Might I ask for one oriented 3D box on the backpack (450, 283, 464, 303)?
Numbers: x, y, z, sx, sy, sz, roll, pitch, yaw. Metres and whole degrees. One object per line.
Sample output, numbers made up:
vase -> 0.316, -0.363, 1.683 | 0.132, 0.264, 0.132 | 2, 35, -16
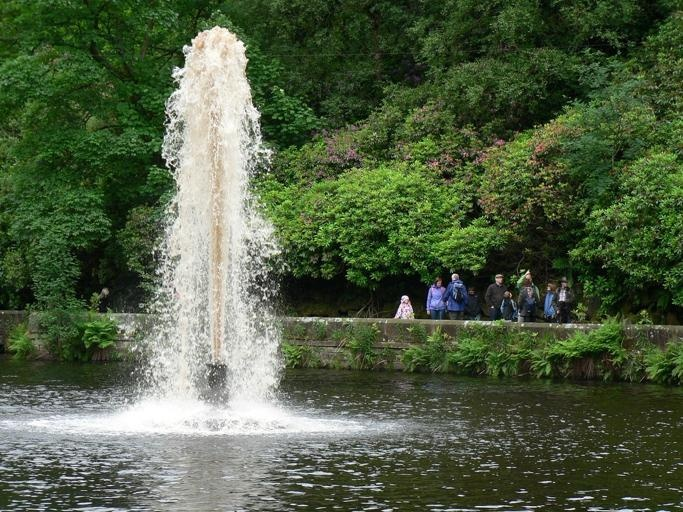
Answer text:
backpack -> 3.061, 0.973, 33.738 | 0.368, 0.522, 0.508 | 2, -4, -7

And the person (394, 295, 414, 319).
person -> 1.780, 1.459, 35.813 | 0.624, 0.894, 0.289 | 1, -8, -6
